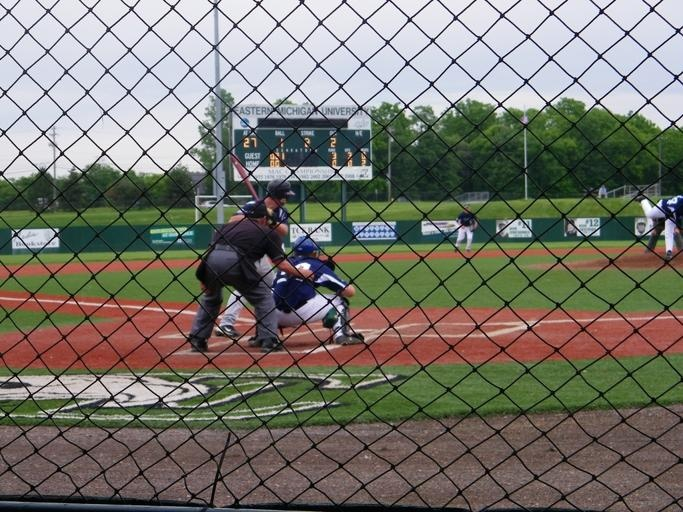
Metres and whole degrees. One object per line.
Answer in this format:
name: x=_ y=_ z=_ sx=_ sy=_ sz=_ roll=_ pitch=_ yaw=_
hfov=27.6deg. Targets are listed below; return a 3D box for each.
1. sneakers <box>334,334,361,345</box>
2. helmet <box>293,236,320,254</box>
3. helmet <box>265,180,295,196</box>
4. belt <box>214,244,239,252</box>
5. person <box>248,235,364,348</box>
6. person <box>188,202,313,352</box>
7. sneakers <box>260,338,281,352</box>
sneakers: x=0.053 y=0.941 z=15.587 sx=0.316 sy=0.140 sz=0.340 roll=-2 pitch=7 yaw=-5
helmet: x=-0.431 y=-0.113 z=15.665 sx=0.237 sy=0.235 sz=0.273 roll=4 pitch=19 yaw=4
helmet: x=-0.718 y=-0.744 z=15.198 sx=0.374 sy=0.158 sz=0.253 roll=-7 pitch=13 yaw=-36
belt: x=-1.322 y=-0.094 z=15.208 sx=0.289 sy=0.074 sz=0.186 roll=6 pitch=-2 yaw=-3
person: x=-0.467 y=0.449 z=15.758 sx=1.343 sy=1.077 sz=0.933 roll=9 pitch=16 yaw=34
person: x=-1.073 y=0.228 z=15.369 sx=1.397 sy=1.499 sz=1.112 roll=-1 pitch=-10 yaw=25
sneakers: x=-0.797 y=0.967 z=15.114 sx=0.321 sy=0.123 sz=0.117 roll=-7 pitch=-3 yaw=38
